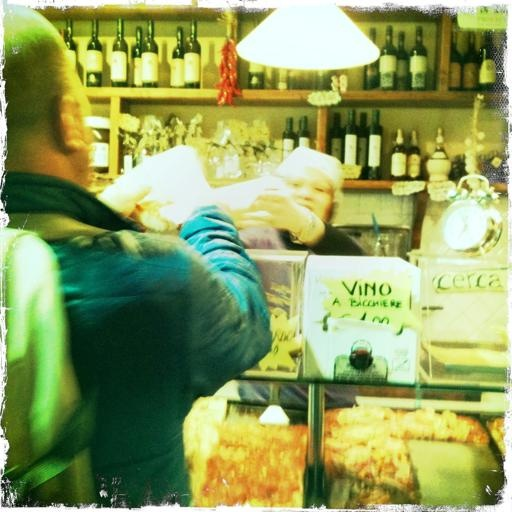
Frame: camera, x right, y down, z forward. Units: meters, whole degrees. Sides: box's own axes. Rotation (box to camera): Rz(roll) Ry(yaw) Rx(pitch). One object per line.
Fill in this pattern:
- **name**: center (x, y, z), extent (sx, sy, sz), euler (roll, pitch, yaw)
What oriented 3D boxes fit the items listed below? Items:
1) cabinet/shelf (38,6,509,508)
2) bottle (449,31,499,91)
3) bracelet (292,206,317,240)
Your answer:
- **cabinet/shelf**: center (0.091, -0.029, 1.673), extent (1.372, 1.502, 0.376), euler (2, -12, 10)
- **bottle**: center (0.977, -0.864, 2.335), extent (0.229, 0.378, 0.105), euler (1, -7, -3)
- **bracelet**: center (0.216, -0.130, 2.301), extent (0.051, 0.149, 0.099), euler (11, -9, -27)
